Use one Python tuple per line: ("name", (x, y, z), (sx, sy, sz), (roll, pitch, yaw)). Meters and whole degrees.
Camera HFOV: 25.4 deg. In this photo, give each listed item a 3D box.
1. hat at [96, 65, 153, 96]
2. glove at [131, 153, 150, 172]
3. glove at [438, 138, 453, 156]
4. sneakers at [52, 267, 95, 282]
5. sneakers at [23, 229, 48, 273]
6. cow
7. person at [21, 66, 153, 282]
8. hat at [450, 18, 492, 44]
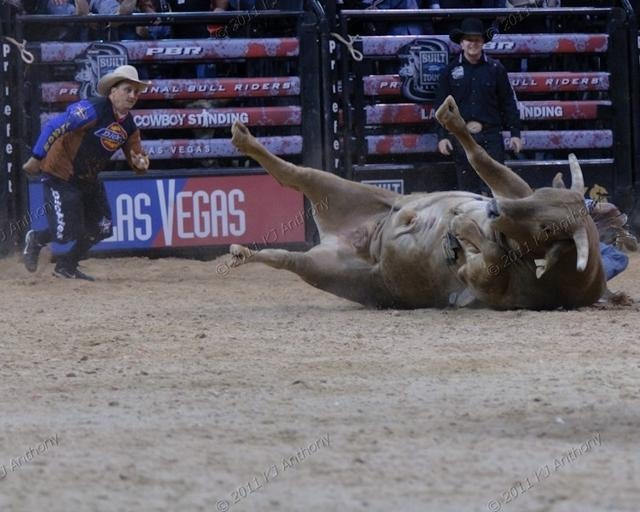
("hat", (-1.815, -1.599, 13.360), (0.356, 0.151, 0.424), (29, 26, 32))
("glove", (-1.659, -0.883, 13.295), (0.083, 0.131, 0.189), (-43, 18, -18))
("glove", (1.295, -1.099, 14.312), (0.109, 0.148, 0.101), (-21, 58, -29))
("sneakers", (-2.336, 0.178, 13.467), (0.475, 0.162, 0.151), (4, 1, 3))
("sneakers", (-2.734, -0.053, 13.575), (0.256, 0.481, 0.178), (4, 0, 13))
("cow", (1.024, -0.079, 11.284), (3.238, 1.481, 1.472), (-7, 28, 19))
("person", (-2.227, -0.772, 13.448), (1.187, 1.982, 0.585), (-3, 6, -12))
("hat", (1.580, -2.262, 14.424), (0.389, 0.144, 0.409), (0, -9, 4))
